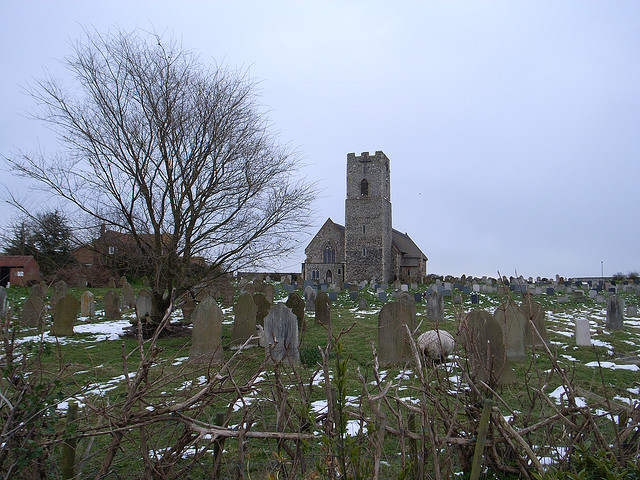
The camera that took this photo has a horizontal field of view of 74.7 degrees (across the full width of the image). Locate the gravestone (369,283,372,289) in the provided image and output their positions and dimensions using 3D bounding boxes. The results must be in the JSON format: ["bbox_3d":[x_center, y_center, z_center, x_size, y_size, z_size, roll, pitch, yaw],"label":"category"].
[{"bbox_3d":[4.073,3.725,33.482,0.194,0.409,0.218,-1,-19,3],"label":"gravestone"}]

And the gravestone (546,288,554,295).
[{"bbox_3d":[14.227,3.184,25.916,0.400,0.463,0.325,5,14,20],"label":"gravestone"}]

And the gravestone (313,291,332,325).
[{"bbox_3d":[0.065,2.350,14.043,0.658,1.267,0.138,6,-45,-3],"label":"gravestone"}]

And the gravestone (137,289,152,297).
[{"bbox_3d":[-6.163,1.863,14.783,0.257,0.156,2.440,4,-7,-20],"label":"gravestone"}]

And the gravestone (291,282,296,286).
[{"bbox_3d":[-2.071,3.378,32.367,0.448,0.271,0.240,-9,-9,-41],"label":"gravestone"}]

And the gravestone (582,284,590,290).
[{"bbox_3d":[21.872,3.881,34.451,0.439,0.499,0.254,-3,-16,13],"label":"gravestone"}]

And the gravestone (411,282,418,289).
[{"bbox_3d":[7.445,3.599,33.035,0.406,0.459,0.328,-1,-11,4],"label":"gravestone"}]

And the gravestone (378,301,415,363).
[{"bbox_3d":[1.510,1.825,8.367,0.713,1.457,0.138,-1,19,7],"label":"gravestone"}]

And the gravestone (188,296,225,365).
[{"bbox_3d":[-2.574,1.975,9.405,0.751,1.596,0.439,5,19,-10],"label":"gravestone"}]

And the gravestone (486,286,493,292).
[{"bbox_3d":[11.063,3.209,27.240,0.415,0.476,0.247,-4,-13,22],"label":"gravestone"}]

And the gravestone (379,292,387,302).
[{"bbox_3d":[3.258,2.950,21.637,0.389,0.457,0.305,0,-9,8],"label":"gravestone"}]

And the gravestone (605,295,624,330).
[{"bbox_3d":[9.243,2.293,13.189,0.471,1.054,0.593,-3,-7,35],"label":"gravestone"}]

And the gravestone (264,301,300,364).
[{"bbox_3d":[-0.796,1.960,8.885,0.736,1.495,0.129,-2,16,-3],"label":"gravestone"}]

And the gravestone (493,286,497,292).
[{"bbox_3d":[11.351,3.195,27.154,0.336,0.377,0.190,-5,-14,30],"label":"gravestone"}]

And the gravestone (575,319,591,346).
[{"bbox_3d":[6.609,2.323,10.516,0.310,0.629,0.316,-3,-7,33],"label":"gravestone"}]

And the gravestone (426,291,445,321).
[{"bbox_3d":[4.042,2.338,14.639,0.530,1.011,0.895,0,-7,12],"label":"gravestone"}]

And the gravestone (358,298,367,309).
[{"bbox_3d":[1.907,2.875,18.881,0.324,0.515,0.054,-1,-10,10],"label":"gravestone"}]

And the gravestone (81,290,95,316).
[{"bbox_3d":[-8.865,2.462,16.049,0.436,0.897,1.031,7,-9,-42],"label":"gravestone"}]

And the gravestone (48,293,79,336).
[{"bbox_3d":[-7.122,2.145,11.702,0.690,1.349,0.133,18,-52,-36],"label":"gravestone"}]

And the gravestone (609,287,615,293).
[{"bbox_3d":[19.607,3.367,28.109,0.399,0.335,0.419,-2,-9,40],"label":"gravestone"}]

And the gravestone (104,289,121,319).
[{"bbox_3d":[-7.681,2.417,15.540,0.590,0.985,0.551,5,-7,-28],"label":"gravestone"}]
